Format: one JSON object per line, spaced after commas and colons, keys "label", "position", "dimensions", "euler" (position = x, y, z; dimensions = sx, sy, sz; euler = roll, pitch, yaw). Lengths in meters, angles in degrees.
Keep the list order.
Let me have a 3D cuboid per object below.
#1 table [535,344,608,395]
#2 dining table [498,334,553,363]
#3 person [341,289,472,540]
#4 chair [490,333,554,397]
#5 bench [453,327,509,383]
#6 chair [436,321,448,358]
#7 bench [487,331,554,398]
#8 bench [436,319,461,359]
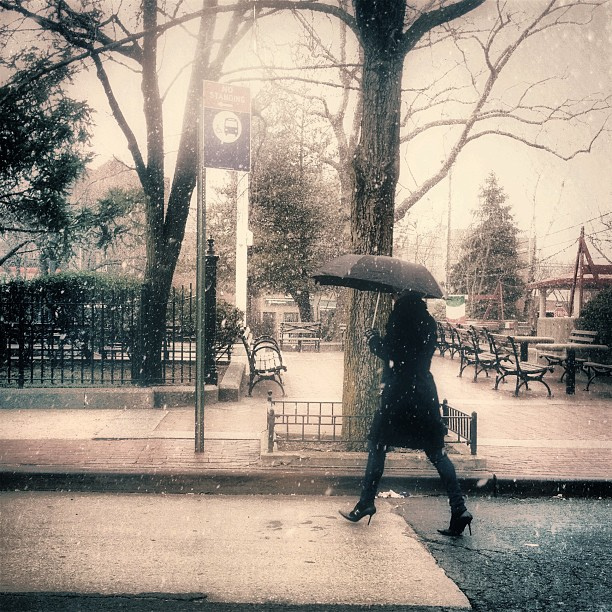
{"label": "table", "position": [4.567, 0.921, 14.442], "dimensions": [0.806, 0.776, 0.963], "euler": [0, -2, 13]}
{"label": "dining table", "position": [3.997, 0.705, 15.999], "dimensions": [0.771, 0.608, 0.852], "euler": [-1, 1, 28]}
{"label": "person", "position": [0.940, 0.952, 7.852], "dimensions": [1.017, 2.210, 0.327], "euler": [1, -1, 12]}
{"label": "chair", "position": [3.737, 0.989, 14.905], "dimensions": [0.588, 1.138, 1.642], "euler": [-5, 1, 3]}
{"label": "bench", "position": [3.403, 1.053, 16.235], "dimensions": [0.920, 0.495, 0.350], "euler": [4, -10, 27]}
{"label": "chair", "position": [3.127, 0.756, 19.779], "dimensions": [0.298, 0.633, 0.815], "euler": [-1, 4, -4]}
{"label": "bench", "position": [3.579, 0.984, 14.958], "dimensions": [0.460, 0.786, 1.214], "euler": [-6, -1, -6]}
{"label": "bench", "position": [3.376, 0.773, 20.780], "dimensions": [0.420, 0.729, 1.800], "euler": [-18, 4, -7]}
